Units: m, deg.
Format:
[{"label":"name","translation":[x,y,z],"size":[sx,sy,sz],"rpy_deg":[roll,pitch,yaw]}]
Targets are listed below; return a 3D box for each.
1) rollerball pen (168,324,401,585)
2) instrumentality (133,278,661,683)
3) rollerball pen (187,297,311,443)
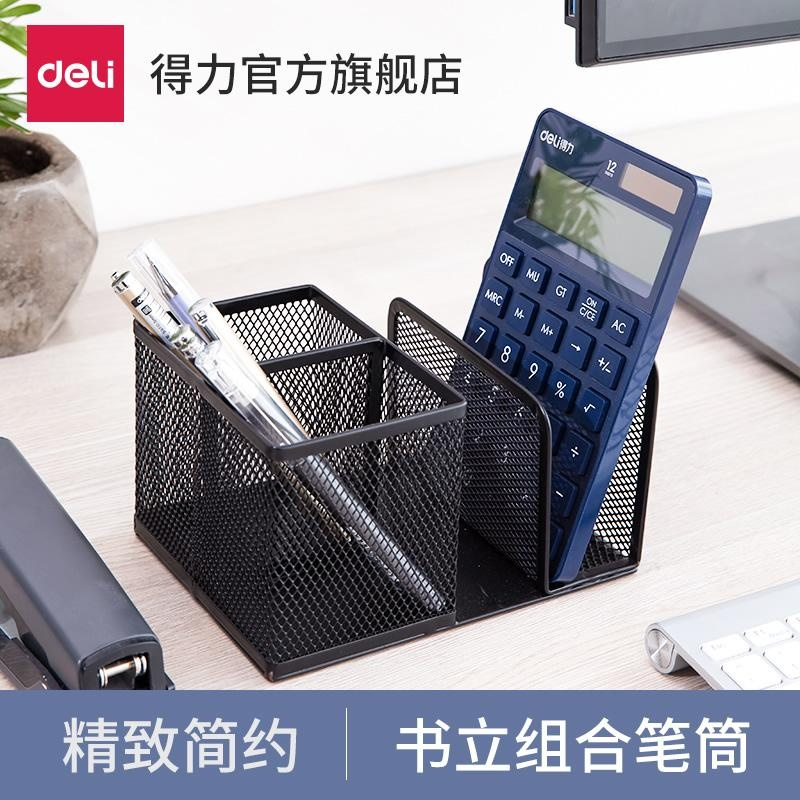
[{"label":"rollerball pen","translation":[-0.051,0.027,0.383],"size":[0.151,0.020,0.029],"rpy_deg":[44,36,1]},{"label":"instrumentality","translation":[0.000,0.054,0.459],"size":[0.217,0.107,0.207],"rpy_deg":[-13,31,-28]},{"label":"rollerball pen","translation":[-0.067,-0.012,0.393],"size":[0.092,0.012,0.016],"rpy_deg":[45,35,19]}]
